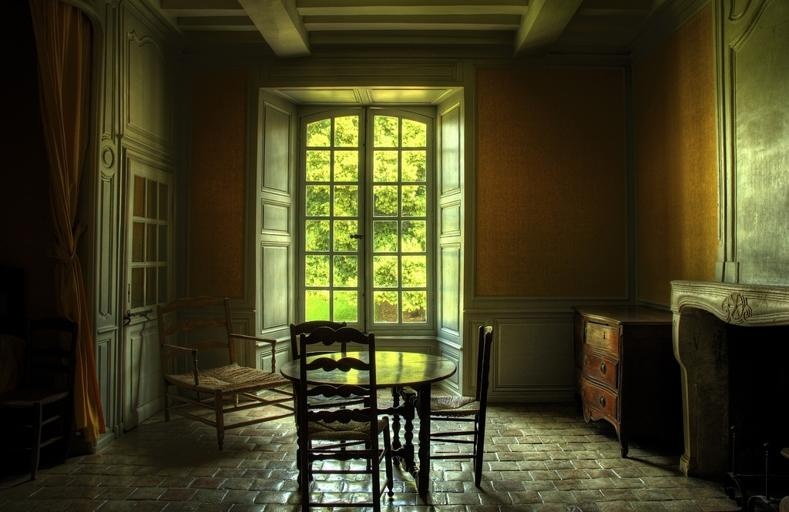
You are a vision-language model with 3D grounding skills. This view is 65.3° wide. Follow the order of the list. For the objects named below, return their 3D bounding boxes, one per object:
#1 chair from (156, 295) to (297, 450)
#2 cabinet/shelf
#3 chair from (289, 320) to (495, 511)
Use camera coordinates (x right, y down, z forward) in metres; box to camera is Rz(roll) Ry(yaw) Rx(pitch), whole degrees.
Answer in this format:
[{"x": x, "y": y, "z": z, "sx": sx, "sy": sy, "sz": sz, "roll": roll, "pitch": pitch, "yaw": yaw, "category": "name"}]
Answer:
[{"x": -1.855, "y": 1.138, "z": 6.676, "sx": 1.700, "sy": 1.640, "sz": 1.240, "roll": -1, "pitch": -1, "yaw": 45, "category": "chair"}, {"x": 2.395, "y": 1.239, "z": 6.239, "sx": 0.757, "sy": 1.459, "sz": 0.979, "roll": 1, "pitch": 0, "yaw": -8, "category": "cabinet/shelf"}, {"x": -0.076, "y": 1.425, "z": 5.773, "sx": 1.942, "sy": 1.277, "sz": 1.248, "roll": -1, "pitch": -1, "yaw": 21, "category": "chair"}]
